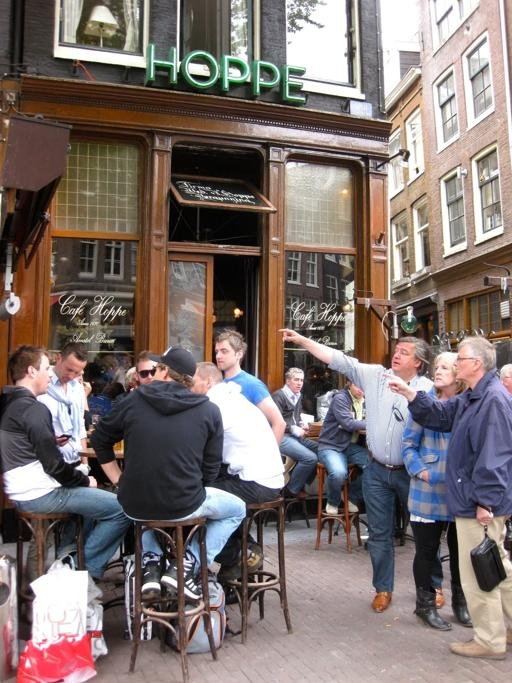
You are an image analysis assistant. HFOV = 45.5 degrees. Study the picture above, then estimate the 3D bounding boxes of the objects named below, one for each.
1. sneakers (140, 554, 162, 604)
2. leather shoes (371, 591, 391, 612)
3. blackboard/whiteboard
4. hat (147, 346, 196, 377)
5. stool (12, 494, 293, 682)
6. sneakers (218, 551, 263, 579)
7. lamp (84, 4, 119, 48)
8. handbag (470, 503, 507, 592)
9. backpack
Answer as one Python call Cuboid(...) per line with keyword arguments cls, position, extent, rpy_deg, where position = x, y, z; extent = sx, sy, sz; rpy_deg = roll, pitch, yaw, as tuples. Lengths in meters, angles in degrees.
Cuboid(cls="sneakers", position=(-0.557, 1.240, 3.211), extent=(0.092, 0.125, 0.273), rpy_deg=(1, -4, -5))
Cuboid(cls="leather shoes", position=(0.862, 1.803, 4.226), extent=(0.065, 0.091, 0.201), rpy_deg=(-4, -10, 18))
Cuboid(cls="blackboard/whiteboard", position=(-0.392, -1.939, 7.909), extent=(1.352, 0.116, 1.564), rpy_deg=(5, 22, -6))
Cuboid(cls="hat", position=(-0.471, 0.116, 3.388), extent=(0.221, 0.114, 0.142), rpy_deg=(32, 17, 19))
Cuboid(cls="stool", position=(-0.584, 1.363, 3.350), extent=(0.318, 0.582, 1.118), rpy_deg=(0, 0, 34))
Cuboid(cls="sneakers", position=(-0.092, 1.456, 3.959), extent=(0.173, 0.106, 0.292), rpy_deg=(-9, -5, 19))
Cuboid(cls="lamp", position=(-1.918, -3.825, 7.429), extent=(0.411, 0.808, 0.391), rpy_deg=(9, -44, -18))
Cuboid(cls="handbag", position=(1.197, 1.160, 3.139), extent=(0.191, 0.266, 0.080), rpy_deg=(2, -3, -25))
Cuboid(cls="backpack", position=(-0.255, 1.531, 3.380), extent=(0.300, 0.399, 0.368), rpy_deg=(12, -2, -19))
